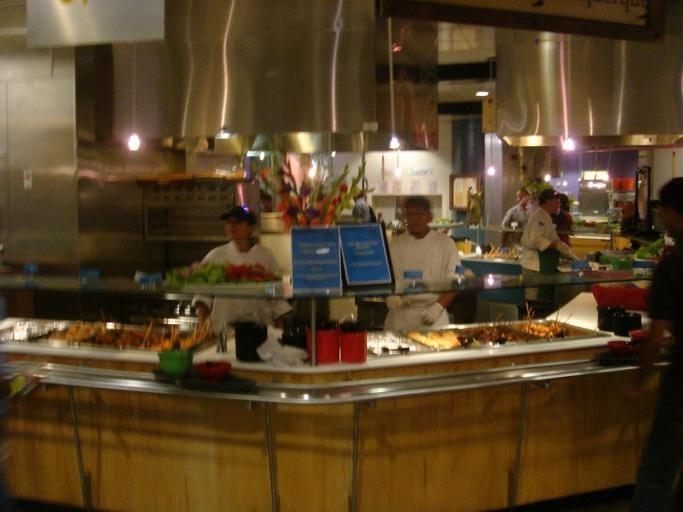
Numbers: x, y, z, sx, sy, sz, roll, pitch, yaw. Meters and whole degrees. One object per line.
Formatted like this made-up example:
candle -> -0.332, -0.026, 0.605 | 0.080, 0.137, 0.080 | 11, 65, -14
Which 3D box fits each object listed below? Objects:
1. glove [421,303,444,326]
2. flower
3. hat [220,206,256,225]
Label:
glove -> 0.671, 0.419, 4.835 | 0.115, 0.195, 0.053 | 39, 13, -3
flower -> -0.123, -0.417, 4.762 | 0.675, 0.493, 0.622 | -3, 2, -16
hat -> -0.822, -0.343, 5.402 | 0.161, 0.130, 0.240 | 2, -10, 32
